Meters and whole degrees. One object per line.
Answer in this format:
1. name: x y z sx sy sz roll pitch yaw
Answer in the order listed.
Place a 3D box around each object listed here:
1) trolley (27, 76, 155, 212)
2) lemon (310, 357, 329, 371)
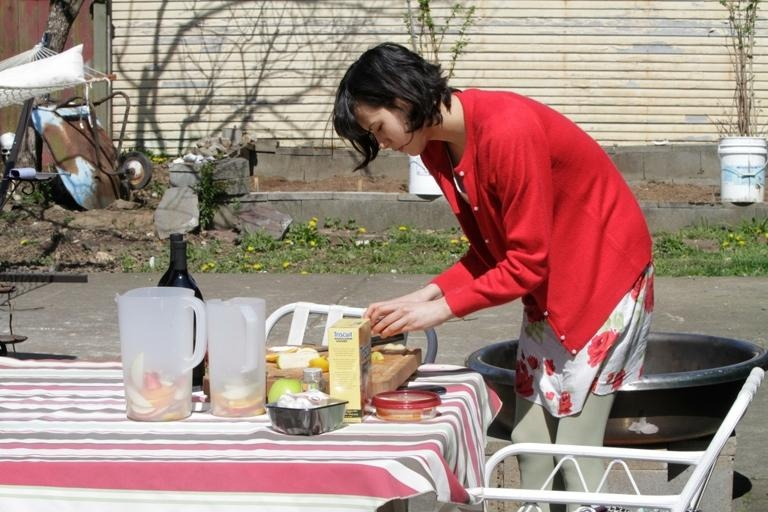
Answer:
1. trolley: -4.535 -1.664 19.525 1.652 1.840 1.612 3 10 3
2. lemon: -0.492 0.829 9.733 0.110 0.073 0.105 -4 9 -28
